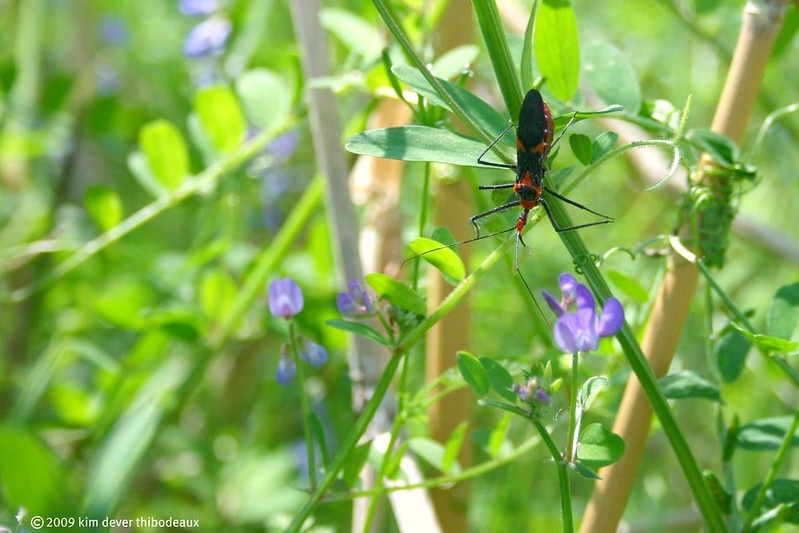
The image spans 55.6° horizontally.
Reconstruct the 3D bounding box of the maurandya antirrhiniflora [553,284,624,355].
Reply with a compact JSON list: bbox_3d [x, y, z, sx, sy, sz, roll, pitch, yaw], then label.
[{"bbox_3d":[0.261,0.075,1.036,0.085,0.097,0.040,-1,1,12],"label":"maurandya antirrhiniflora"}]

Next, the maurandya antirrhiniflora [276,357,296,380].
[{"bbox_3d":[-0.170,0.160,1.136,0.033,0.040,0.030,-1,0,27],"label":"maurandya antirrhiniflora"}]

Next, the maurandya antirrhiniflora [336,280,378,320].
[{"bbox_3d":[-0.067,0.052,1.166,0.042,0.048,0.066,-9,-19,3],"label":"maurandya antirrhiniflora"}]

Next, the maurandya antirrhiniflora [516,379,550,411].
[{"bbox_3d":[0.190,0.182,1.069,0.049,0.041,0.021,-1,0,6],"label":"maurandya antirrhiniflora"}]

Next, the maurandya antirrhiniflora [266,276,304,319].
[{"bbox_3d":[-0.174,0.051,1.161,0.047,0.062,0.079,-1,0,-7],"label":"maurandya antirrhiniflora"}]

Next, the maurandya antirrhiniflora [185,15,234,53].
[{"bbox_3d":[-0.430,-0.505,1.674,0.112,0.089,0.037,-1,0,16],"label":"maurandya antirrhiniflora"}]
